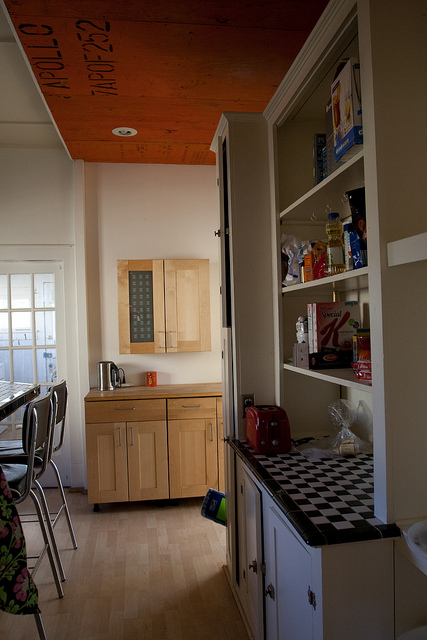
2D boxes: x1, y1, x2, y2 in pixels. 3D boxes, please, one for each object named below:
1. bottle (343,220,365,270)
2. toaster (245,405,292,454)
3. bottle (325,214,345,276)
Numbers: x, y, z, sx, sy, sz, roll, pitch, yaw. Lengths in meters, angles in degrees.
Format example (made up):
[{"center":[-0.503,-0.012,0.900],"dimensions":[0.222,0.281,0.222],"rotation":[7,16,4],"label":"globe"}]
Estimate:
[{"center":[0.434,-0.234,1.489],"dimensions":[0.037,0.165,0.186],"rotation":[-2,-2,8],"label":"bottle"},{"center":[0.232,0.460,2.052],"dimensions":[0.149,0.175,0.248],"rotation":[-1,-1,-7],"label":"toaster"},{"center":[0.422,-0.259,1.653],"dimensions":[0.054,0.211,0.128],"rotation":[-2,-2,13],"label":"bottle"}]
